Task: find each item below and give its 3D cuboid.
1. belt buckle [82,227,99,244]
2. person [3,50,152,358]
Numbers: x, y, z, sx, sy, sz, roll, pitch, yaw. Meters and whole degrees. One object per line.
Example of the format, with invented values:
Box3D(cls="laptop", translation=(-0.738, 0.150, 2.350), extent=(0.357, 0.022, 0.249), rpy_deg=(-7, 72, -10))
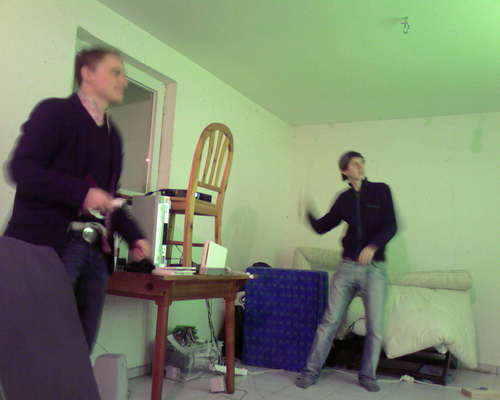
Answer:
Box3D(cls="belt buckle", translation=(-0.659, 0.149, 1.822), extent=(0.065, 0.066, 0.051), rpy_deg=(34, 33, 18))
Box3D(cls="person", translation=(-0.763, -0.061, 1.986), extent=(0.510, 1.333, 0.477), rpy_deg=(3, -8, 6))
